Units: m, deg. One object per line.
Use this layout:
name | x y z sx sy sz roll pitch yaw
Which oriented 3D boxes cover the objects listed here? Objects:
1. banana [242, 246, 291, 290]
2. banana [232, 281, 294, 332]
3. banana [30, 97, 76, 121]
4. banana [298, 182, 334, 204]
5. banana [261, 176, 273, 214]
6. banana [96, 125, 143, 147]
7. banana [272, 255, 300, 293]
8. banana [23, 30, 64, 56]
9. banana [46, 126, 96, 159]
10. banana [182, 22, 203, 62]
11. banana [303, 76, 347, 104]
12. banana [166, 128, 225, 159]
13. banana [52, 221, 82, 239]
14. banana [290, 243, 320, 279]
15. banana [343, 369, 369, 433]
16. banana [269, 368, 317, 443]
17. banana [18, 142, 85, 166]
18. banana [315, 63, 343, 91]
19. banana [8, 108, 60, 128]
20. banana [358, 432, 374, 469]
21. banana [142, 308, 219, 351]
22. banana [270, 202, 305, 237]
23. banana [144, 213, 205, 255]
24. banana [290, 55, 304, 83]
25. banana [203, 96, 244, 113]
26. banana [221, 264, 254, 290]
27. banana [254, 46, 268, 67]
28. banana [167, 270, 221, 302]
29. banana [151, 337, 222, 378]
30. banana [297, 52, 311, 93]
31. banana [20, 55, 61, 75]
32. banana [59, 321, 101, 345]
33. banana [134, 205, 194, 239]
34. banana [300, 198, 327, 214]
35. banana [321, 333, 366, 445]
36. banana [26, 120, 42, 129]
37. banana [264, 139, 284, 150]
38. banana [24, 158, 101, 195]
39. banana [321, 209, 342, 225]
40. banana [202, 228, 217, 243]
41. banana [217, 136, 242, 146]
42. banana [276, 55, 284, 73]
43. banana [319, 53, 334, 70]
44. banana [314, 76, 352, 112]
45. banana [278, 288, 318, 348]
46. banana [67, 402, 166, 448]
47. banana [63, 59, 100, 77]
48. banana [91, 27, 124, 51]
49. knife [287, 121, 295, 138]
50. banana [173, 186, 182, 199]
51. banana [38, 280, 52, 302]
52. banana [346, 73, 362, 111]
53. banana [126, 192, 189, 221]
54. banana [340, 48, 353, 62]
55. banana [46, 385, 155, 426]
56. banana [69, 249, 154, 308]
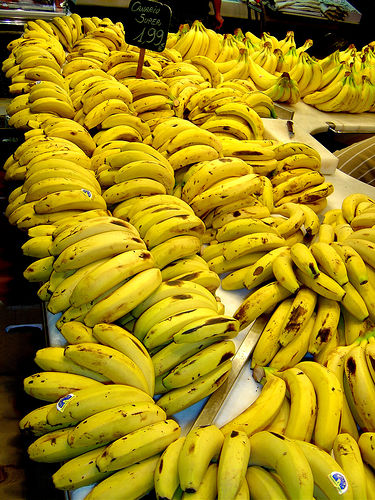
banana | 0.270 0.062 1.300 0.164 0.045 0.053 -40 45 4
banana | 0.245 0.181 1.219 0.196 0.064 0.045 -33 45 -19
banana | -0.627 -0.671 1.818 0.197 0.093 0.059 -1 47 -22
banana | 0.577 -0.261 1.752 0.182 0.046 0.061 -27 16 -24
banana | 0.335 -0.241 1.688 0.051 0.059 0.184 6 46 -12
banana | -0.304 -0.502 1.671 0.135 0.046 0.118 -9 44 9
banana | 0.322 0.067 1.258 0.092 0.066 0.195 -5 29 6
banana | -0.962 -1.414 2.575 0.220 0.083 0.249 8 33 -46
banana | -0.475 -0.446 1.614 0.132 0.043 0.117 33 26 -38
banana | 0.040 -1.538 2.933 0.146 0.195 0.094 7 29 1
banana | 1.114 -1.279 3.104 0.089 0.276 0.184 37 30 -33
banana | 0.022 -0.448 1.579 0.235 0.124 0.053 -7 38 -9
banana | -0.353 -0.072 1.133 0.024 0.040 0.092 26 52 39
banana | 0.355 0.028 1.202 0.047 0.044 0.131 17 28 -22
banana | 0.440 0.407 1.028 0.035 0.171 0.059 -23 -3 23
banana | 0.261 0.374 0.933 0.112 0.060 0.214 -6 36 13
banana | -0.546 -0.368 1.494 0.201 0.094 0.050 -19 63 -9
banana | 1.183 -1.433 3.220 0.067 0.100 0.274 42 90 27
banana | -0.780 -0.623 1.893 0.152 0.048 0.130 12 44 17
banana | 0.399 0.441 0.852 0.021 0.056 0.041 5 -9 -28
banana | -0.007 0.185 0.964 0.217 0.057 0.069 -9 48 -30
banana | 0.414 -0.132 1.542 0.140 0.049 0.136 -19 42 23
banana | -0.032 -0.055 1.171 0.136 0.114 0.043 -15 50 -19
banana | 0.874 -1.386 3.030 0.062 0.243 0.089 15 -4 41
banana | 0.161 -0.710 1.877 0.164 0.077 0.044 -24 68 -12
banana | 0.165 0.106 1.365 0.046 0.160 0.059 37 52 -5
banana | 0.602 -1.537 3.100 0.055 0.086 0.224 23 76 11
banana | 0.033 0.103 1.149 0.119 0.038 0.099 8 42 10
banana | 0.001 0.256 0.925 0.150 0.050 0.039 -24 52 -5
banana | 0.938 -1.404 3.082 0.082 0.232 0.063 15 38 29
banana | -0.843 -1.055 2.208 0.150 0.129 0.048 -7 -7 -15
banana | -0.258 0.197 0.932 0.097 0.035 0.048 23 27 14
banana | -0.081 -0.097 1.198 0.127 0.041 0.110 -21 12 28
banana | 0.599 -0.205 1.794 0.073 0.020 0.075 -23 -20 26
banana | 0.445 0.359 1.076 0.119 0.075 0.311 0 67 21
banana | -0.702 -0.569 1.773 0.039 0.039 0.094 -20 38 -39
banana | 0.445 -0.534 1.944 0.089 0.088 0.023 -11 57 -7
banana | -0.436 -0.299 1.342 0.155 0.057 0.179 -19 54 -42
banana | 0.653 -0.150 1.724 0.064 0.028 0.117 9 32 31
banana | 0.088 -0.056 1.549 0.061 0.018 0.046 -15 53 -29
banana | 0.183 -0.496 1.792 0.063 0.022 0.080 -5 12 -40
banana | 0.751 -1.498 3.136 0.029 0.105 0.038 7 4 30
banana | 1.198 -1.612 3.321 0.206 0.068 0.055 -41 36 -23
banana | 1.149 -1.212 3.059 0.061 0.177 0.229 21 -15 -7
banana | 0.336 0.191 1.204 0.067 0.079 0.248 34 48 -1
banana | -0.136 0.343 0.783 0.214 0.069 0.063 -7 22 -17
banana | -0.643 -1.082 2.284 0.155 0.043 0.131 2 48 -6
banana | -0.575 -1.520 2.796 0.193 0.108 0.051 15 0 -27
knife | 0.591 -0.688 2.226 0.031 0.029 0.109 -18 42 17
banana | -0.039 -0.241 1.621 0.018 0.022 0.065 18 60 13
banana | -0.412 0.120 1.117 0.025 0.057 0.048 23 15 26
banana | 1.359 -1.260 3.149 0.107 0.308 0.073 8 18 32
banana | -0.102 -0.157 1.302 0.145 0.045 0.122 -18 -4 0
banana | 1.448 -1.768 3.501 0.092 0.103 0.290 14 29 15
banana | -0.199 0.303 0.817 0.232 0.080 0.062 4 40 -21
banana | -0.197 0.055 0.990 0.286 0.079 0.074 -25 58 -30
